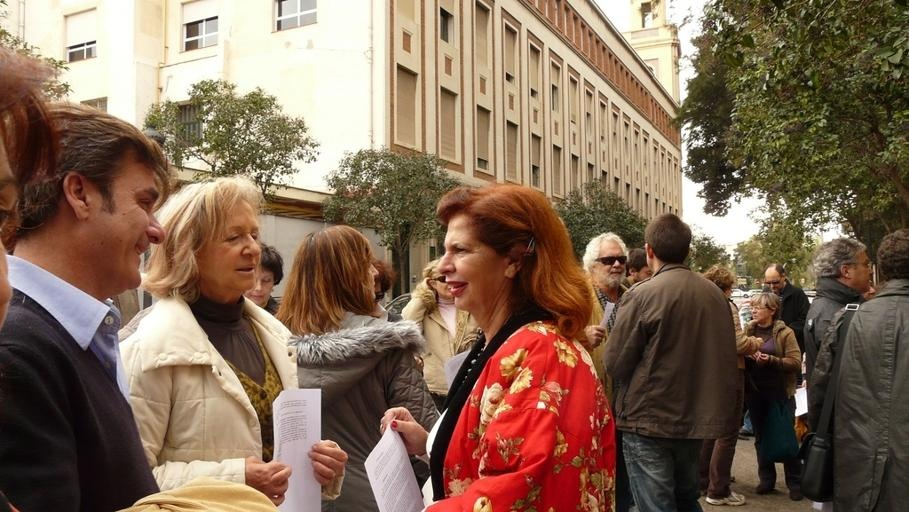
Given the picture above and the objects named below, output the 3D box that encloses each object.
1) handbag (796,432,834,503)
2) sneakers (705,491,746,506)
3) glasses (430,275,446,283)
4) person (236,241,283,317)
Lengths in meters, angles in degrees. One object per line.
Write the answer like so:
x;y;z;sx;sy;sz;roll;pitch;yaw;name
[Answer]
3.283;1.916;7.041;0.273;0.623;0.235;-3;-6;24;handbag
3.215;2.850;9.200;0.427;0.202;0.172;-5;1;-1;sneakers
-0.120;0.199;7.000;0.126;0.060;0.164;3;-5;-17;glasses
-1.998;0.261;8.069;0.502;0.757;0.542;-1;11;-19;person
